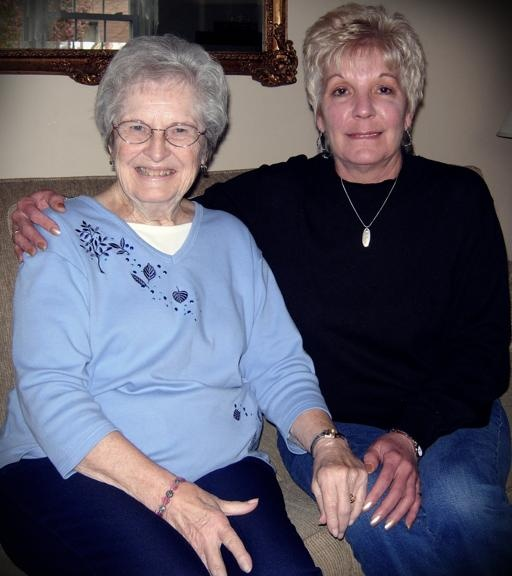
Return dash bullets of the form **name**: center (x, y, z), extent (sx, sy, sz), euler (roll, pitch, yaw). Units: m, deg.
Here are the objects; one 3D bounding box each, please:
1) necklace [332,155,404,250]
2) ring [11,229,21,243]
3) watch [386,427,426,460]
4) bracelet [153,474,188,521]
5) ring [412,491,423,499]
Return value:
- **necklace**: center (0.312, -0.215, 1.643), extent (0.173, 0.183, 0.008), euler (12, 10, 44)
- **ring**: center (-0.561, -0.125, 1.369), extent (0.012, 0.031, 0.035), euler (-1, 9, 13)
- **watch**: center (0.378, 0.393, 1.493), extent (0.035, 0.043, 0.092), euler (-21, 29, -39)
- **bracelet**: center (-0.172, 0.413, 1.156), extent (0.075, 0.056, 0.023), euler (-50, 22, -17)
- **ring**: center (0.371, 0.481, 1.362), extent (0.019, 0.016, 0.017), euler (-1, -10, 6)
